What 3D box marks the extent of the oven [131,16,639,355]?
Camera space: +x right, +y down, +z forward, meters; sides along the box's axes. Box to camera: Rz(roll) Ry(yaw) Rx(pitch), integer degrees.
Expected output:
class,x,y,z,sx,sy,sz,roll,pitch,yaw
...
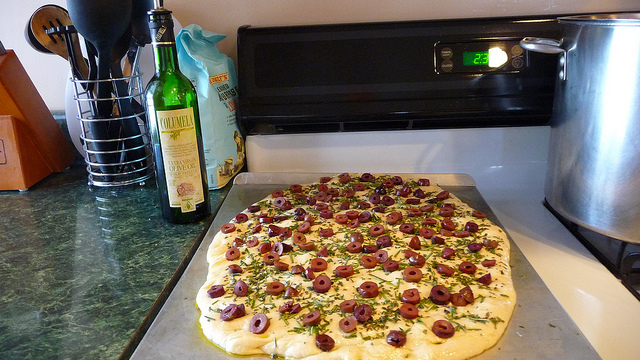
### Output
class,x,y,z,sx,sy,sz,roll,pitch,yaw
oven,0.283,0.075,1.632,1.353,0.577,1.332,0,37,3

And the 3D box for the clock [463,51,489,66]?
class,x,y,z,sx,sy,sz,roll,pitch,yaw
clock,0.612,-0.477,1.624,0.098,0.052,0.022,-1,24,3
